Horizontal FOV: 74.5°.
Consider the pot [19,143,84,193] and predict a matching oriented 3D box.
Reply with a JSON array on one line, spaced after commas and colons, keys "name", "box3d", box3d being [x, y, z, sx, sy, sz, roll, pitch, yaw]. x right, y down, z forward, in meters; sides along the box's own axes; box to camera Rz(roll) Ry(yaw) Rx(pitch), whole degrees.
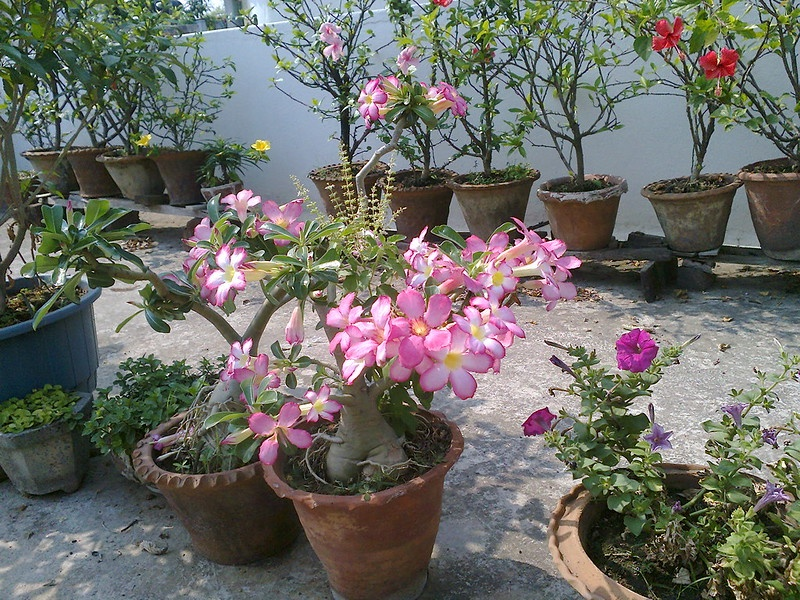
[{"name": "pot", "box3d": [-4.157, -1.585, 6.223, 0.448, 0.286, 0.413, -8, 10, 1]}]

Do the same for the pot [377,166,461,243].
[{"name": "pot", "box3d": [0.185, -0.831, 4.794, 0.975, 0.630, 0.888, -2, 20, 1]}]

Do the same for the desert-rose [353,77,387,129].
[{"name": "desert-rose", "box3d": [-0.076, -0.570, 1.518, 0.101, 0.026, 0.102, -20, -3, -21]}]

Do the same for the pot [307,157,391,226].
[{"name": "pot", "box3d": [-0.359, -1.026, 4.560, 0.548, 0.487, 0.379, -29, 36, -27]}]

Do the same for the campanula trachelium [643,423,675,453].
[{"name": "campanula trachelium", "box3d": [0.723, 0.392, 1.470, 0.065, 0.066, 0.093, 3, 18, 25]}]

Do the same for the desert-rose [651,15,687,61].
[{"name": "desert-rose", "box3d": [1.541, -1.535, 3.022, 0.153, 0.164, 0.128, 4, 19, 26]}]

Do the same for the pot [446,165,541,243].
[{"name": "pot", "box3d": [0.770, -0.759, 4.255, 0.626, 0.434, 0.626, -4, 22, 2]}]

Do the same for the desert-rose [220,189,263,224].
[{"name": "desert-rose", "box3d": [-0.493, -0.304, 1.703, 0.129, 0.074, 0.120, 1, 20, 19]}]

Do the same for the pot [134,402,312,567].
[{"name": "pot", "box3d": [-0.672, 0.703, 2.032, 0.557, 0.325, 0.510, -2, 13, 0]}]

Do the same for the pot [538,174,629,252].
[{"name": "pot", "box3d": [1.403, -0.660, 4.048, 0.688, 0.461, 0.672, -7, 22, 3]}]

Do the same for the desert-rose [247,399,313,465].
[{"name": "desert-rose", "box3d": [-0.327, 0.372, 1.434, 0.185, 0.085, 0.164, -25, 46, -7]}]

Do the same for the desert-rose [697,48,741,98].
[{"name": "desert-rose", "box3d": [1.807, -1.312, 2.977, 0.216, 0.211, 0.074, 12, -3, -29]}]

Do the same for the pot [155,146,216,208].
[{"name": "pot", "box3d": [-2.089, -1.257, 5.505, 0.698, 0.576, 0.600, 2, 12, 5]}]

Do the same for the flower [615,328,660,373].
[{"name": "flower", "box3d": [0.675, 0.158, 1.490, 0.096, 0.162, 0.136, 5, 19, 28]}]

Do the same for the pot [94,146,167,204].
[{"name": "pot", "box3d": [-2.914, -1.396, 5.929, 0.851, 0.464, 0.778, -1, 18, 0]}]

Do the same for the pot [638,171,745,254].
[{"name": "pot", "box3d": [2.089, -0.597, 3.758, 0.656, 0.414, 0.652, -7, 16, 2]}]

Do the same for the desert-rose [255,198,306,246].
[{"name": "desert-rose", "box3d": [-0.363, -0.233, 1.607, 0.137, 0.140, 0.267, -9, 16, -14]}]

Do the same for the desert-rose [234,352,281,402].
[{"name": "desert-rose", "box3d": [-0.382, 0.218, 1.484, 0.130, 0.116, 0.065, -7, 8, 26]}]
